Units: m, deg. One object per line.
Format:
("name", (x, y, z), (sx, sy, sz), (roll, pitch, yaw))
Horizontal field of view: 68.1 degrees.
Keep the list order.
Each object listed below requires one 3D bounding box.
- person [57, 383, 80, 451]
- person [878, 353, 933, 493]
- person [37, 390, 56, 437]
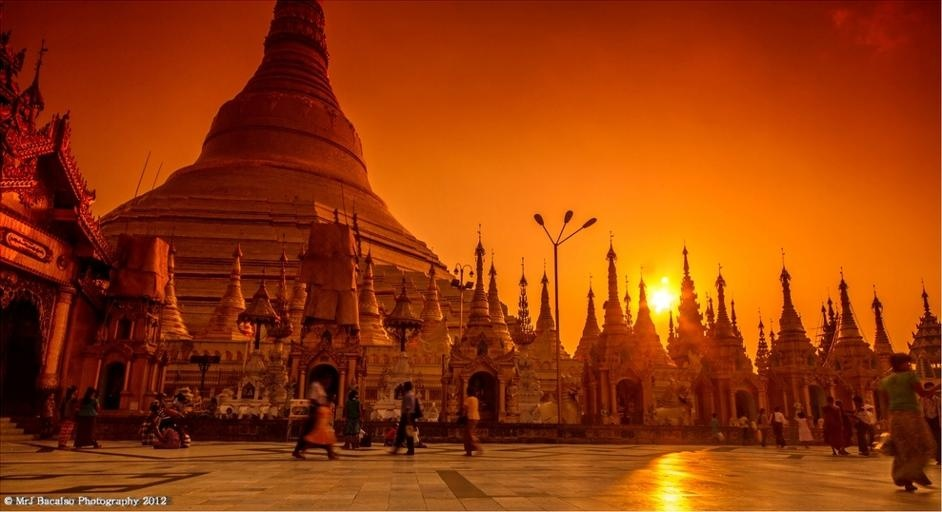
("person", (-13.049, 5.203, 22.612), (0.502, 1.983, 1.385), (9, -22, -27))
("person", (10.930, 4.135, 17.551), (1.099, 3.359, 1.191), (-12, -22, 25))
("person", (-13.894, 5.203, 22.983), (0.489, 1.500, 0.416), (10, -23, -30))
